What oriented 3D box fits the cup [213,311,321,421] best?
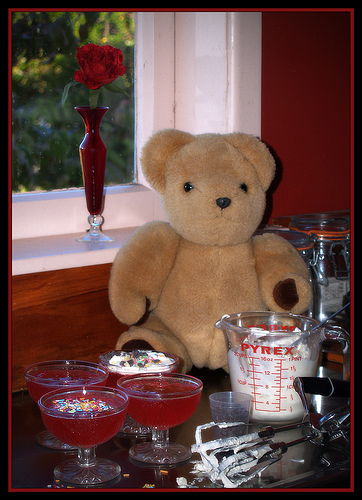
[{"bbox_3d":[0.127,0.178,0.684,0.165,0.151,0.198,1,0,6],"label":"cup"}]

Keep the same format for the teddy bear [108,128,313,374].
[{"bbox_3d":[0.054,0.020,0.790,0.374,0.413,0.257,1,16,-1],"label":"teddy bear"}]

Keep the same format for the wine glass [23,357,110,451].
[{"bbox_3d":[-0.171,0.217,0.682,0.123,0.093,0.110,-1,8,-19],"label":"wine glass"}]

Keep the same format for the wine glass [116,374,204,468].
[{"bbox_3d":[-0.025,0.219,0.589,0.106,0.094,0.094,1,0,-21],"label":"wine glass"}]

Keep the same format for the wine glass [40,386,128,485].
[{"bbox_3d":[-0.109,0.216,0.542,0.110,0.086,0.111,3,-3,-6],"label":"wine glass"}]

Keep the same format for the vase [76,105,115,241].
[{"bbox_3d":[-0.196,-0.173,1.066,0.086,0.306,0.182,1,1,-5],"label":"vase"}]

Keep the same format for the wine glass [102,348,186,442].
[{"bbox_3d":[-0.080,0.236,0.701,0.146,0.143,0.120,6,38,-8],"label":"wine glass"}]
